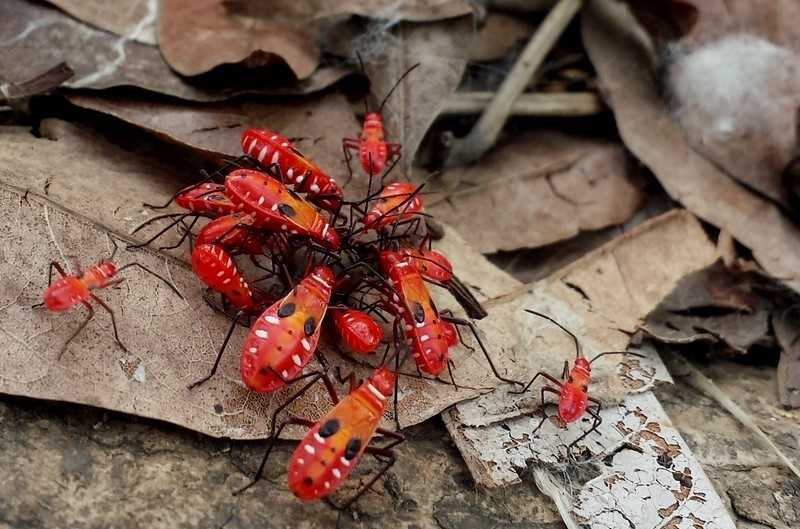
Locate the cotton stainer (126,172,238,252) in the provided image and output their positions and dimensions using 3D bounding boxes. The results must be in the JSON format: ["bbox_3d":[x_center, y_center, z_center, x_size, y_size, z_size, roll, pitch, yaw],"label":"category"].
[{"bbox_3d":[-1.126,-0.297,4.728,0.417,0.140,0.341,-19,54,2],"label":"cotton stainer"}]

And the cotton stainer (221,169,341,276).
[{"bbox_3d":[-0.654,-0.257,4.804,0.552,0.155,0.392,34,30,-25],"label":"cotton stainer"}]

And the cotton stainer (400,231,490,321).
[{"bbox_3d":[0.253,0.070,4.954,0.480,0.146,0.327,44,73,-2],"label":"cotton stainer"}]

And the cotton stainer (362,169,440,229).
[{"bbox_3d":[-0.004,-0.361,5.002,0.390,0.144,0.198,-42,59,-13],"label":"cotton stainer"}]
